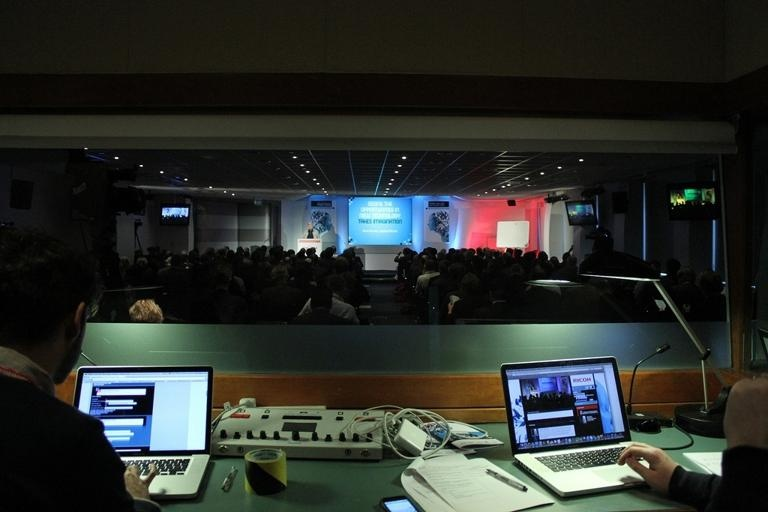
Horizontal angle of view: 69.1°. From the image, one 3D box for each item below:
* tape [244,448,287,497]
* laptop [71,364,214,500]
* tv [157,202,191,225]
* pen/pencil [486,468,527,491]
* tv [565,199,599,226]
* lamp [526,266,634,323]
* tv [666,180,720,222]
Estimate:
[{"bbox_3d":[-0.531,0.944,2.451,0.191,0.135,0.179,2,-2,-38],"label":"tape"},{"bbox_3d":[-1.062,0.732,2.542,0.699,0.418,0.518,1,-2,-6],"label":"laptop"},{"bbox_3d":[-1.288,-0.257,3.394,0.155,0.106,0.021,0,4,-11],"label":"tv"},{"bbox_3d":[0.534,0.985,2.436,0.024,0.021,0.164,-8,14,-32],"label":"pen/pencil"},{"bbox_3d":[1.238,-0.274,3.462,0.178,0.139,0.061,1,16,17],"label":"tv"},{"bbox_3d":[1.107,0.209,3.135,0.382,0.172,0.290,5,3,33],"label":"lamp"},{"bbox_3d":[1.781,-0.323,3.253,0.357,0.274,0.198,-1,-1,10],"label":"tv"}]
